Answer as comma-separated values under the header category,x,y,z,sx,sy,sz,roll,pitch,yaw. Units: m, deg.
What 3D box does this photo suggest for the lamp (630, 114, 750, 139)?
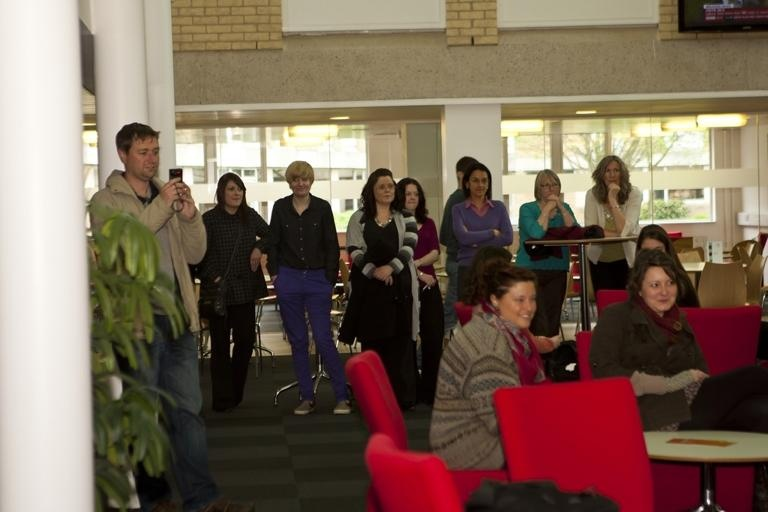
category,x,y,z,sx,sy,sz,roll,pitch,yaw
lamp,4.562,-1.986,11.009,1.482,0.333,0.273,0,-16,0

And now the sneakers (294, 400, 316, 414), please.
category,x,y,z,sx,sy,sz,roll,pitch,yaw
sneakers,-0.702,1.355,6.497,0.085,0.093,0.208,-2,-9,14

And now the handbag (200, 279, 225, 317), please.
category,x,y,z,sx,sy,sz,roll,pitch,yaw
handbag,-1.454,0.357,6.133,0.229,0.318,0.164,-8,-15,29
